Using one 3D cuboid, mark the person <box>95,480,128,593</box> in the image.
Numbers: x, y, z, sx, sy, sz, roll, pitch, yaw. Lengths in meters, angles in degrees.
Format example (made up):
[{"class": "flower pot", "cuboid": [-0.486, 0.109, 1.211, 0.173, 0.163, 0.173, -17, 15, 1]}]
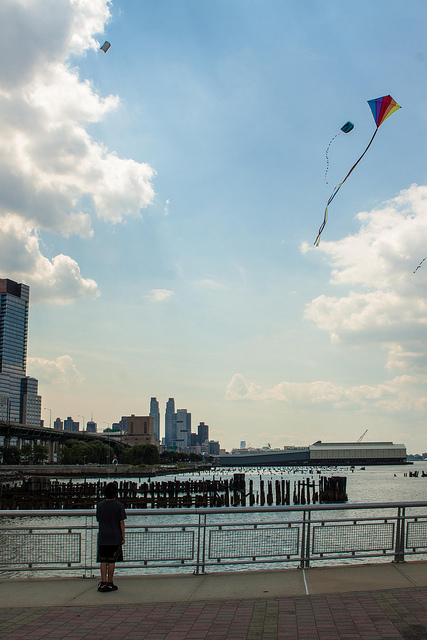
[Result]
[{"class": "person", "cuboid": [-1.510, 3.169, 9.977, 0.443, 1.488, 0.427, 1, -13, -9]}]
